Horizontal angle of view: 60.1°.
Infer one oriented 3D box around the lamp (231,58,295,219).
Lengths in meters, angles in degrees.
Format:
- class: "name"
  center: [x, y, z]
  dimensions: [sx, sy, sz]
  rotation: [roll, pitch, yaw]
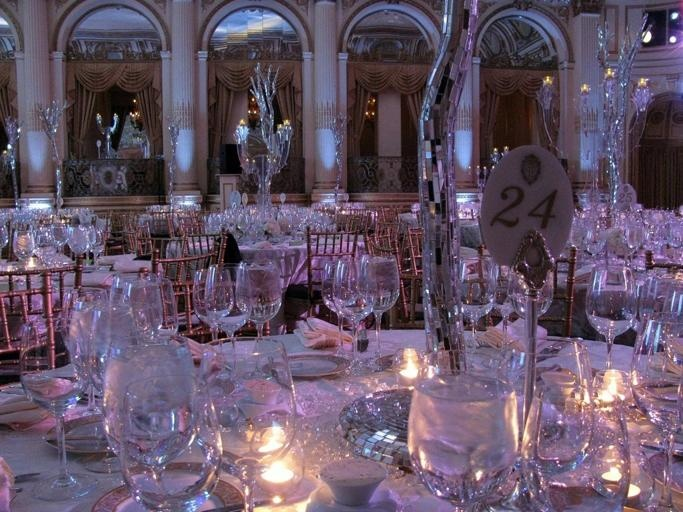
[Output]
- class: "lamp"
  center: [-0.791, -1.197, 6.383]
  dimensions: [0.469, 1.691, 0.496]
  rotation: [7, 7, 42]
